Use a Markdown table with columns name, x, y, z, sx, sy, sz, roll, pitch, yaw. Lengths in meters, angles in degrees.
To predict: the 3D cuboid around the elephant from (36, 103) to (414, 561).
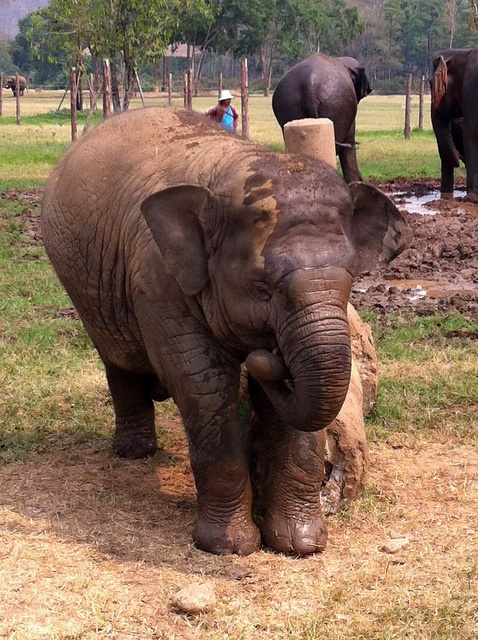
| name | x | y | z | sx | sy | sz | roll | pitch | yaw |
| --- | --- | --- | --- | --- | --- | --- | --- | --- | --- |
| elephant | -0.284 | -0.097 | 4.670 | 1.213 | 1.970 | 2.600 | -5 | 13 | -32 |
